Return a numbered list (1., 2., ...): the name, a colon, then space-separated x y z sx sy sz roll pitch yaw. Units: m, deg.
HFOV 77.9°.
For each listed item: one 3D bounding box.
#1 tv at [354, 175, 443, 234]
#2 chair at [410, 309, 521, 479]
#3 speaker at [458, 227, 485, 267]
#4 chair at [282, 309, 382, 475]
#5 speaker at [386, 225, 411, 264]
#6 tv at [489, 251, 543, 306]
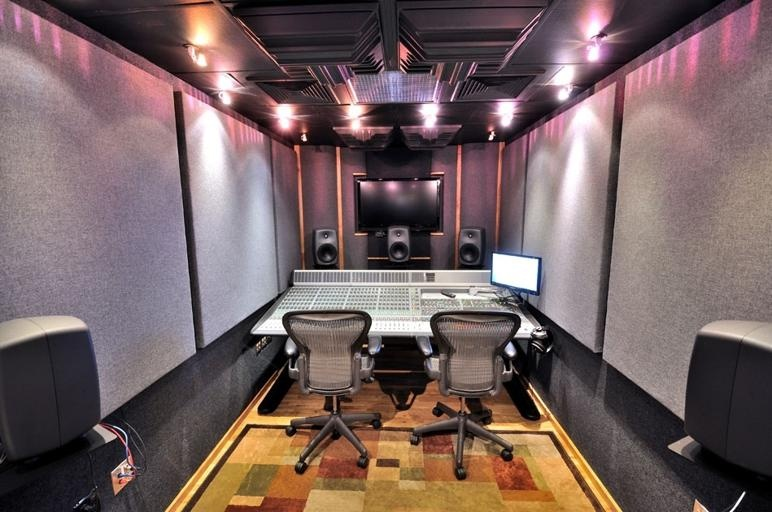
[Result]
1. tv: 0.163 -0.575 5.083 0.737 0.401 0.068 -1 5 -2
2. chair: 0.566 0.857 3.466 0.822 1.103 0.852 2 9 -5
3. speaker: 0.858 -0.113 4.737 0.264 0.381 0.227 7 19 24
4. chair: -0.371 0.856 3.462 0.840 1.115 0.757 -6 14 -26
5. speaker: 0.135 -0.136 4.807 0.295 0.374 0.274 6 18 22
6. tv: 1.131 0.163 4.018 0.141 0.375 0.562 -8 10 -27
